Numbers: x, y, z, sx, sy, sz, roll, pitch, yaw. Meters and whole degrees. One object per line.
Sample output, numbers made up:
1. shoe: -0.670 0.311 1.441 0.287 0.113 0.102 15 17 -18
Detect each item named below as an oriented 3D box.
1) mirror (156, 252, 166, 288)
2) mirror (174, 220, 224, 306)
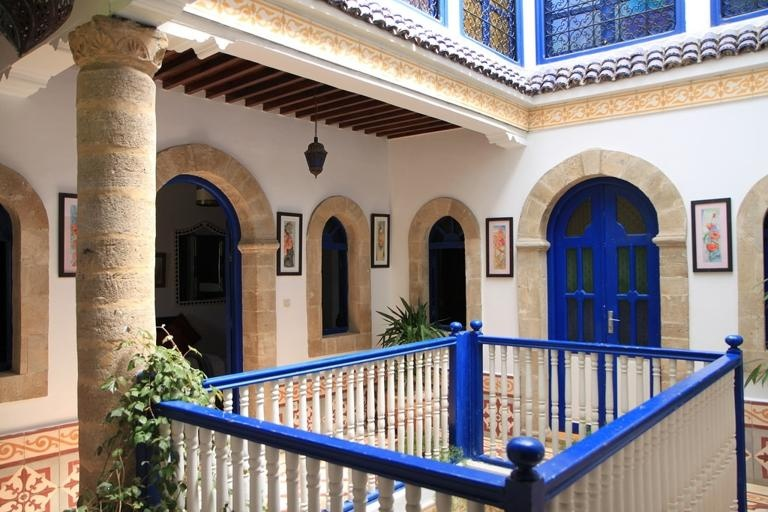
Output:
1. mirror: -4.429 0.288 12.110 0.120 0.710 0.252 -2 -3 25
2. mirror: -3.811 0.158 12.677 0.970 1.679 0.386 1 -3 -22
